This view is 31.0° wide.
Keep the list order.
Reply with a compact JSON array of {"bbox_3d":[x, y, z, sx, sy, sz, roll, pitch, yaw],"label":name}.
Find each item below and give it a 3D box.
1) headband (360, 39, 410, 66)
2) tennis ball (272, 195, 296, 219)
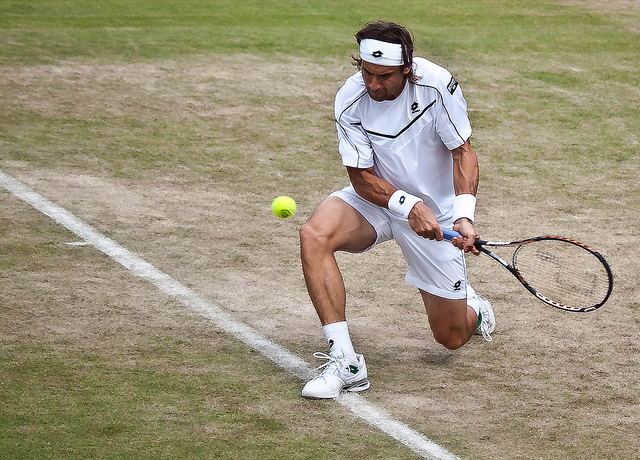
[{"bbox_3d":[0.449,-1.316,8.430,0.327,0.155,0.363,19,22,19],"label":"headband"},{"bbox_3d":[-0.301,-0.192,9.504,0.168,0.182,0.172,-1,21,0],"label":"tennis ball"}]
